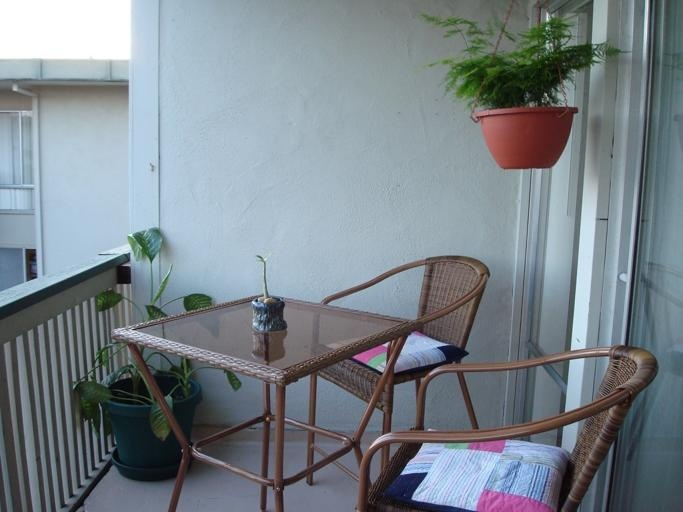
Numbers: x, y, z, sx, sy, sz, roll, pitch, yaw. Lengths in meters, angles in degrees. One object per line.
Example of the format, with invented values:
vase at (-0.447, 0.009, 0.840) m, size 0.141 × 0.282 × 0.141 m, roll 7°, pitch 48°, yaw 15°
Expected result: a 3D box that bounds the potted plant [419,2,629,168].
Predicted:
potted plant at (0.809, -0.668, 2.487) m, size 0.660 × 0.655 × 0.762 m, roll 6°, pitch 16°, yaw 25°
